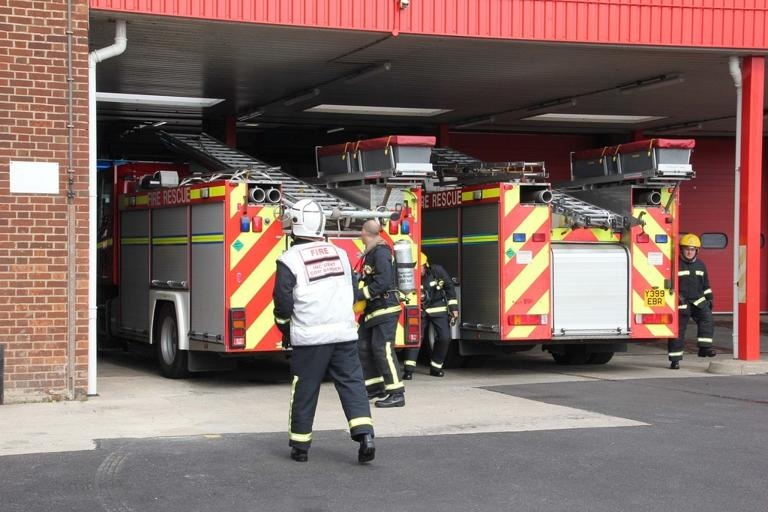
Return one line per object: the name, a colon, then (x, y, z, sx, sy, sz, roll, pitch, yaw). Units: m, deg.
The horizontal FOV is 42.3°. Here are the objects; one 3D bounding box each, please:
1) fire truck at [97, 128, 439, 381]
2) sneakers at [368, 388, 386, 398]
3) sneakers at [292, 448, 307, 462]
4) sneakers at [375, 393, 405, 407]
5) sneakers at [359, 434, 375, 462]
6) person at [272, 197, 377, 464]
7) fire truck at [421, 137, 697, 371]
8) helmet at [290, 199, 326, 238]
fire truck: (-1.733, 0.160, 15.470, 3.031, 2.841, 5.638, 1, 1, -33)
sneakers: (-0.081, 1.828, 13.224, 0.348, 0.142, 0.118, 3, -2, -38)
sneakers: (-0.893, 2.112, 10.545, 0.087, 0.098, 0.223, 0, 2, -17)
sneakers: (0.100, 1.880, 12.989, 0.411, 0.266, 0.158, 1, -3, -7)
sneakers: (-0.182, 2.025, 10.490, 0.168, 0.325, 0.194, 0, 5, -2)
person: (-0.651, 0.793, 10.607, 1.049, 2.754, 0.680, 0, 5, -1)
fire truck: (2.209, -0.192, 17.694, 2.913, 2.496, 5.052, 1, 0, -23)
helmet: (-0.816, -0.422, 10.859, 0.439, 0.401, 0.371, 4, -1, 36)
